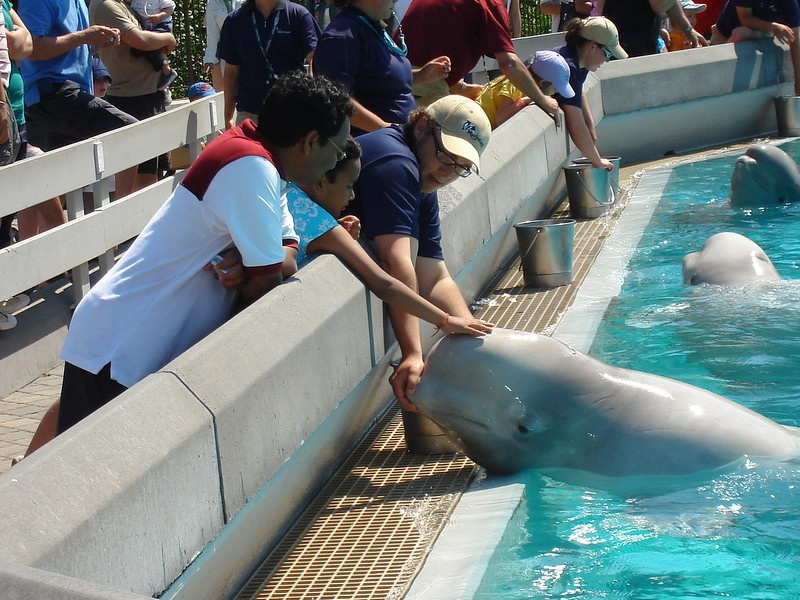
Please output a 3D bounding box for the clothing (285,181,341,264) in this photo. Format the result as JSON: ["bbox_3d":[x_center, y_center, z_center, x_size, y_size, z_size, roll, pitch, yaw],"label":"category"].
[{"bbox_3d":[-0.410,-0.369,4.259,0.158,0.284,0.284,-33,25,-9],"label":"clothing"}]

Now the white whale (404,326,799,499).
[{"bbox_3d":[0.797,0.556,4.409,1.965,0.832,0.670,-6,-12,4],"label":"white whale"}]

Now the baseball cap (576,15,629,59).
[{"bbox_3d":[1.881,-2.463,8.634,0.637,0.351,0.407,13,9,5],"label":"baseball cap"}]

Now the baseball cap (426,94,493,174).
[{"bbox_3d":[0.313,-0.818,4.630,0.287,0.217,0.410,21,27,-50],"label":"baseball cap"}]

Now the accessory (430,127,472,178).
[{"bbox_3d":[0.257,-0.755,4.600,0.185,0.078,0.227,24,29,-44],"label":"accessory"}]

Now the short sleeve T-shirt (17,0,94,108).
[{"bbox_3d":[-2.429,-1.695,6.404,0.403,0.746,0.652,5,26,2],"label":"short sleeve T-shirt"}]
